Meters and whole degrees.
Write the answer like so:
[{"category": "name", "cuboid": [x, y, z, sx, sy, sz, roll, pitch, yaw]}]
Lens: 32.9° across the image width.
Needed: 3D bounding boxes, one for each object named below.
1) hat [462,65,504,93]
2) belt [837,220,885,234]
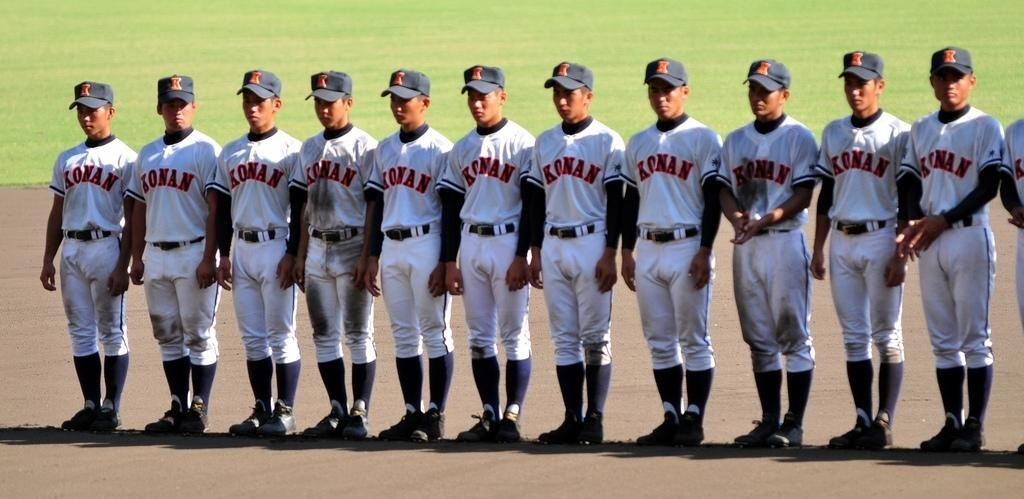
[{"category": "hat", "cuboid": [-0.425, -3.063, 31.258, 0.580, 0.289, 0.700, -2, -2, 34]}, {"category": "belt", "cuboid": [6.186, -0.402, 30.544, 0.890, 0.238, 0.128, -2, 5, 4]}]
